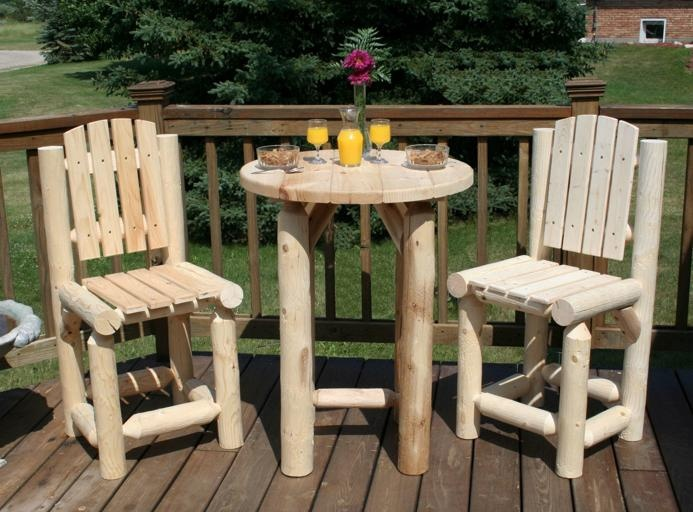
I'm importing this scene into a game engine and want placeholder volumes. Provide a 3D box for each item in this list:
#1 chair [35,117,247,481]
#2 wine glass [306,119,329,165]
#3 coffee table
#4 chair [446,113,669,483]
[{"bbox_3d":[-0.813,0.134,2.842,0.734,1.311,0.762,-2,11,-8],"label":"chair"},{"bbox_3d":[-0.120,-0.473,2.883,0.086,0.167,0.093,8,17,29],"label":"wine glass"},{"bbox_3d":[0.039,0.228,2.942,0.883,1.190,0.928,8,16,28],"label":"coffee table"},{"bbox_3d":[0.829,0.124,2.853,0.720,1.295,0.738,8,13,36],"label":"chair"}]
